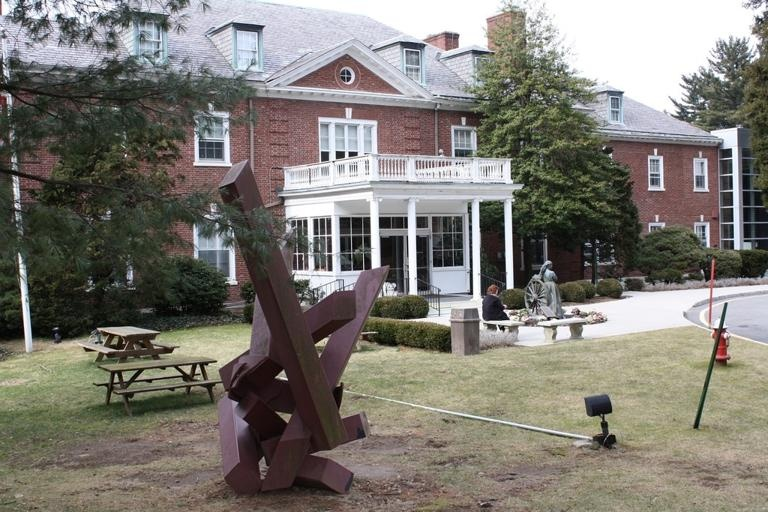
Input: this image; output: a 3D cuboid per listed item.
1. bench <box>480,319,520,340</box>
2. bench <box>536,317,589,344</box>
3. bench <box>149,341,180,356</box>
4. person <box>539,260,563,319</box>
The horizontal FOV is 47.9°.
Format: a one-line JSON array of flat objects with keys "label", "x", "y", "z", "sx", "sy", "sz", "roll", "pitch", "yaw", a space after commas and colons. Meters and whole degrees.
[{"label": "bench", "x": 3.178, "y": 1.919, "z": 22.725, "sx": 0.706, "sy": 0.461, "sz": 1.253, "roll": -2, "pitch": -1, "yaw": -17}, {"label": "bench", "x": 4.632, "y": 1.927, "z": 22.418, "sx": 1.140, "sy": 0.617, "sz": 0.638, "roll": -1, "pitch": -1, "yaw": -21}, {"label": "bench", "x": -5.256, "y": 2.221, "z": 20.562, "sx": 0.522, "sy": 0.301, "sz": 1.090, "roll": -2, "pitch": -1, "yaw": -15}, {"label": "person", "x": 4.612, "y": 0.912, "z": 23.769, "sx": 0.593, "sy": 1.535, "sz": 1.755, "roll": -2, "pitch": 0, "yaw": 10}]
